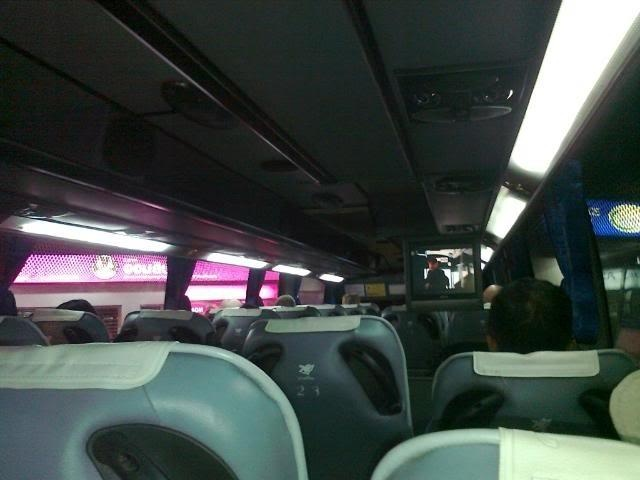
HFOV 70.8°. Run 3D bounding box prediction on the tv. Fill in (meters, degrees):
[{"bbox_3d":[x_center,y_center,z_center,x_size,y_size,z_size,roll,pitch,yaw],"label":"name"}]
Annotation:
[{"bbox_3d":[1.717,0.468,6.191,1.101,0.972,0.376,-2,-6,10],"label":"tv"}]
